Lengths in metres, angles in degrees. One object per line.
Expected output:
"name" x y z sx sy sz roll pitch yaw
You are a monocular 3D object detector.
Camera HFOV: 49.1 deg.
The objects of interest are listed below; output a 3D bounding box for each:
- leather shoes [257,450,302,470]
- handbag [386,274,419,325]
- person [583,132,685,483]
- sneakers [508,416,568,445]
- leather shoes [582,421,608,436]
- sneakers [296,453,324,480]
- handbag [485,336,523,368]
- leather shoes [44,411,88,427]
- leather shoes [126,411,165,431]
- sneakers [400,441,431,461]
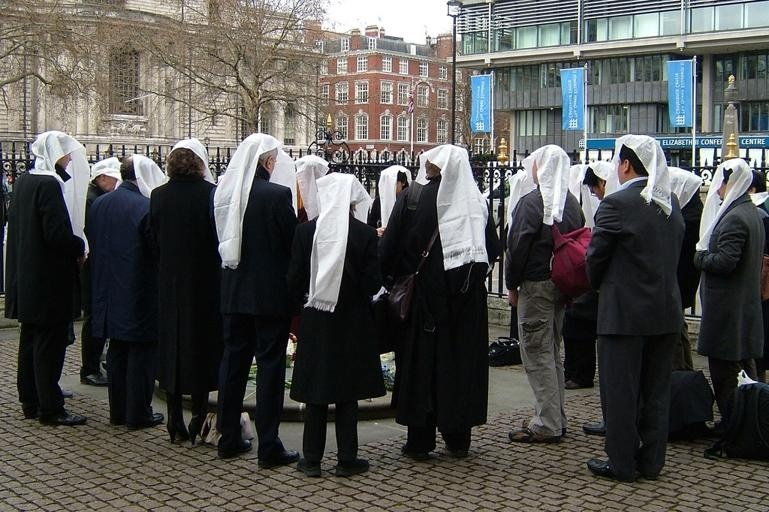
"leather shoes" -1.051 1.983 8.428 0.414 0.185 0.165 -4 6 -36
"handbag" 0.193 0.444 8.412 0.181 0.452 0.391 23 -17 -11
"person" 2.432 0.492 8.097 0.938 3.211 0.797 0 12 -1
"sneakers" 1.614 1.850 9.014 0.663 0.258 0.235 4 -8 8
"leather shoes" 2.282 1.866 9.156 0.312 0.133 0.119 4 1 10
"sneakers" -0.733 2.031 8.152 0.122 0.205 0.292 -1 9 -32
"handbag" 1.648 1.313 11.571 0.379 0.244 0.612 0 -2 0
"leather shoes" -3.538 1.780 9.337 0.468 0.180 0.170 0 1 -8
"leather shoes" -2.651 1.805 9.324 0.133 0.165 0.406 10 14 41
"sneakers" 0.344 1.951 8.602 0.131 0.230 0.326 -5 12 -36
